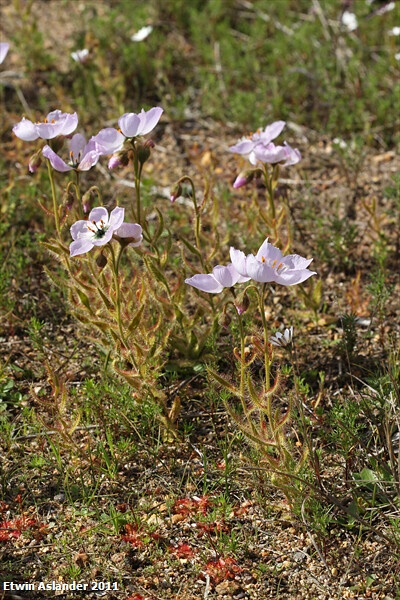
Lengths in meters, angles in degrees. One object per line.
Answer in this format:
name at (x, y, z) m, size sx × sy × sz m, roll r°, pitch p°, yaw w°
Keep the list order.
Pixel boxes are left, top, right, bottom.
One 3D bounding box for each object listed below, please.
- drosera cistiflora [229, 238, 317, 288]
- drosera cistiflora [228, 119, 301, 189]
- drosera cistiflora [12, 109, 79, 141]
drosera cistiflora at (0.224, -0.100, 1.862) m, size 0.199 × 0.073 × 0.162 m, roll -2°, pitch 14°, yaw -35°
drosera cistiflora at (0.252, -0.580, 2.517) m, size 0.256 × 0.266 × 0.297 m, roll 12°, pitch 41°, yaw 15°
drosera cistiflora at (-0.536, -0.613, 2.270) m, size 0.197 × 0.077 × 0.151 m, roll -7°, pitch 14°, yaw 14°
